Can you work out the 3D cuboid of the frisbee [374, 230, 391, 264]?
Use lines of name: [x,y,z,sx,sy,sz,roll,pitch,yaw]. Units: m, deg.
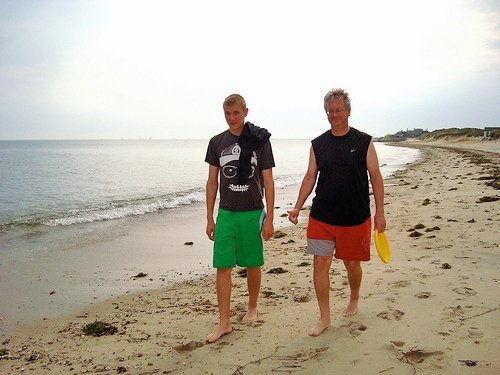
frisbee: [1.743,0.767,4.960,0.085,0.421,0.350,-14,-14,28]
